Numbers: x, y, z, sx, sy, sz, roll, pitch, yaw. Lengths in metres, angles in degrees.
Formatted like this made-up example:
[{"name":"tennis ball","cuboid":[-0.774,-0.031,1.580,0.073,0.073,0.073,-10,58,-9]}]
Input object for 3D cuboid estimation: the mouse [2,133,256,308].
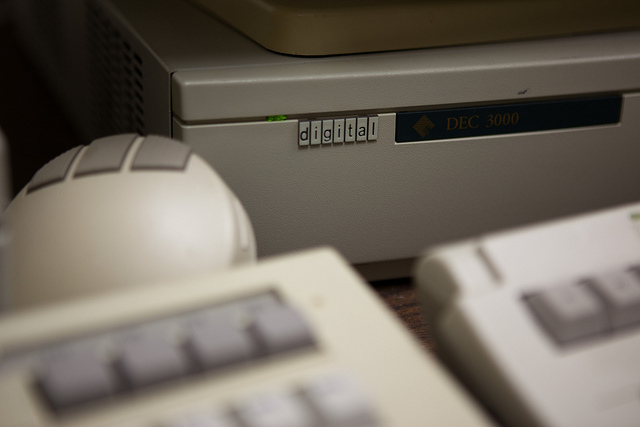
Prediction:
[{"name":"mouse","cuboid":[-0.117,-0.002,0.306,0.145,0.044,0.118,-8,50,-9]}]
